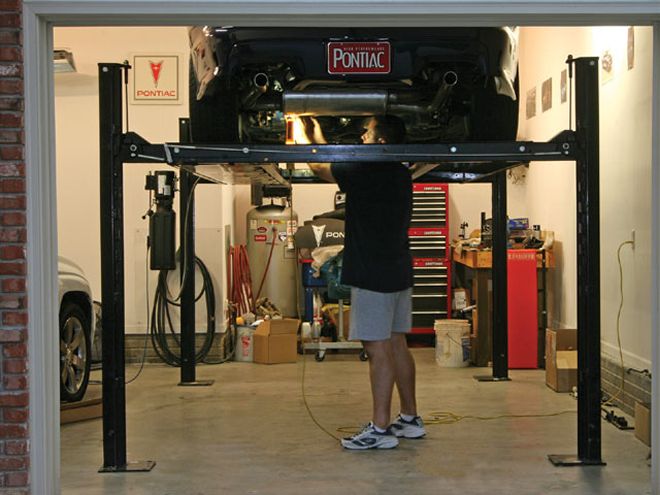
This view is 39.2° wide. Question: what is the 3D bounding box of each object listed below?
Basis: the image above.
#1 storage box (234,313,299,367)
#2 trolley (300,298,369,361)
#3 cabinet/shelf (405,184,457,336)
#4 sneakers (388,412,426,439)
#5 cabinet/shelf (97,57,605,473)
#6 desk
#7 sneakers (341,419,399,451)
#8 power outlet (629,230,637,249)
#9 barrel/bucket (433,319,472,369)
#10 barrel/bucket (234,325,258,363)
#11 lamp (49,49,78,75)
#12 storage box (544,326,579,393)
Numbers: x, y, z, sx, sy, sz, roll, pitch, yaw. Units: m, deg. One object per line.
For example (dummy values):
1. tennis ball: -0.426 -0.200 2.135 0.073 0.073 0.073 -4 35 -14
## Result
1. storage box: -0.574 0.957 9.588 0.459 0.410 0.488 -4 -1 -13
2. trolley: 0.040 0.909 9.784 0.468 0.790 0.781 0 -5 -1
3. cabinet/shelf: 1.020 0.411 10.356 0.664 1.255 0.722 -2 -20 10
4. sneakers: 0.572 1.313 6.794 0.287 0.153 0.120 5 2 11
5. cabinet/shelf: 0.157 -0.175 7.745 2.840 2.704 3.400 0 2 1
6. desk: 2.149 0.487 9.651 0.780 1.089 1.568 -2 5 26
7. sneakers: 0.287 1.348 6.597 0.434 0.237 0.163 2 -9 2
8. power outlet: 2.436 -0.061 7.435 0.103 0.169 0.046 1 -1 -27
9. barrel/bucket: 1.227 0.954 9.238 0.395 0.463 0.396 0 1 0
10. barrel/bucket: -0.897 1.013 9.579 0.271 0.413 0.325 -4 -7 38
11. lamp: -2.646 -1.854 9.174 0.193 0.224 0.368 -3 8 -17
12. storage box: 2.057 0.971 8.122 0.268 0.521 0.374 0 2 -8
